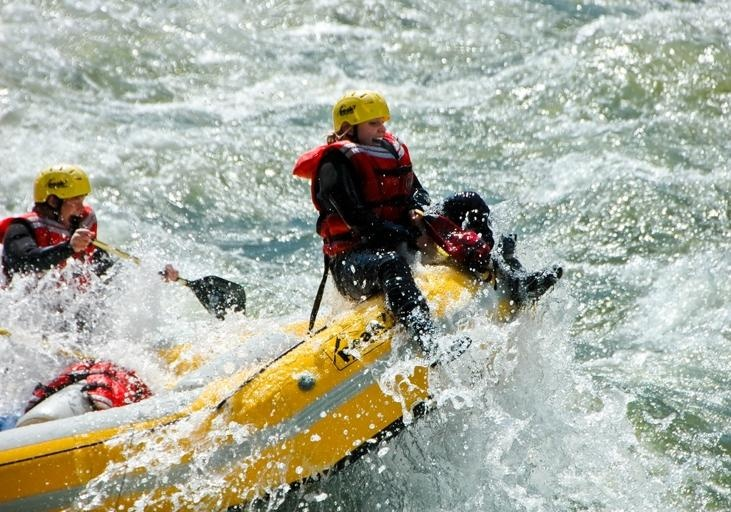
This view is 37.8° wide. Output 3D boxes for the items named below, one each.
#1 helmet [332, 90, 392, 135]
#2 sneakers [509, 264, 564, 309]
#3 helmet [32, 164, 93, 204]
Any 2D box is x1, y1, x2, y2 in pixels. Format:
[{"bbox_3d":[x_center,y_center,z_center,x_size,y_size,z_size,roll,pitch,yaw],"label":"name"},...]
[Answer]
[{"bbox_3d":[-0.058,-1.428,10.481,0.604,0.427,0.406,-7,93,26],"label":"helmet"},{"bbox_3d":[1.529,0.263,9.986,0.549,0.187,0.292,-32,98,1],"label":"sneakers"},{"bbox_3d":[-3.174,-0.791,11.127,0.628,0.441,0.349,-3,106,4],"label":"helmet"}]
